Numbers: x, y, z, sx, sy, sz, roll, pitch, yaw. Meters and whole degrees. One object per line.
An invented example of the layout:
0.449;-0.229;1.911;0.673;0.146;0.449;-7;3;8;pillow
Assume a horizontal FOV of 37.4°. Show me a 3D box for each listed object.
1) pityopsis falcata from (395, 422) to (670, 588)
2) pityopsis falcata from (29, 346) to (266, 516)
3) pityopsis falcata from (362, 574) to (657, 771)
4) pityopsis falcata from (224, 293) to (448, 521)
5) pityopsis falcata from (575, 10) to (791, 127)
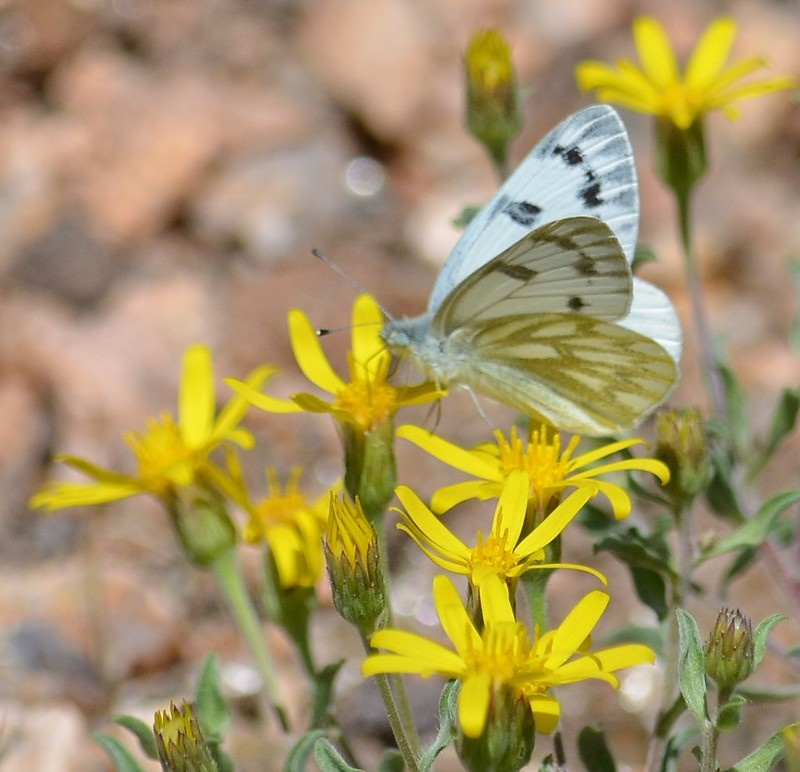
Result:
0.298;0.299;3.137;0.507;0.259;0.545;17;32;26;pityopsis falcata
-0.664;0.170;3.297;0.573;0.201;0.544;-31;9;-22;pityopsis falcata
0.267;0.561;2.749;0.540;0.262;0.546;11;18;20;pityopsis falcata
-0.132;0.036;3.395;0.652;0.327;0.608;7;42;-5;pityopsis falcata
0.896;-0.969;3.752;0.616;0.214;0.611;-7;20;-17;pityopsis falcata
